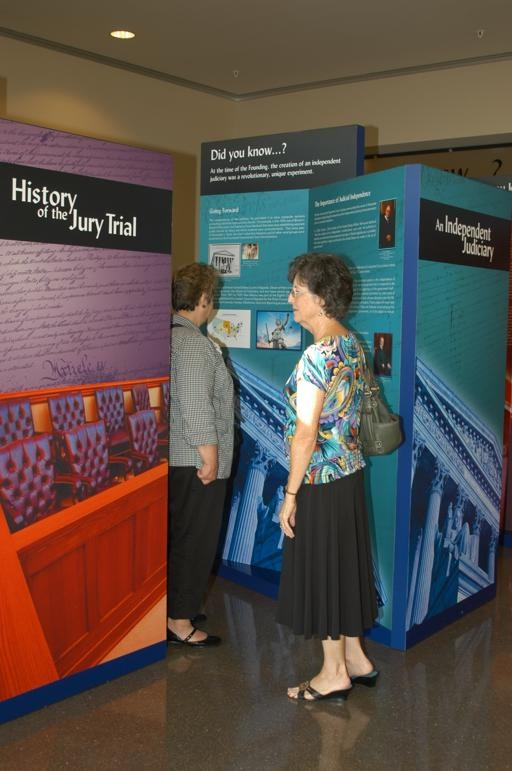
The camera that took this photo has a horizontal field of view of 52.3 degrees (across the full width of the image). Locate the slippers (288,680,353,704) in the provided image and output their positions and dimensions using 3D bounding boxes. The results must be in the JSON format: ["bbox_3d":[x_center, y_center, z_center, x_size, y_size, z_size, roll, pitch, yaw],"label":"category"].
[{"bbox_3d":[0.231,1.085,1.890,0.196,0.063,0.087,2,-6,8],"label":"slippers"}]

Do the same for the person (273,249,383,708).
[{"bbox_3d":[0.245,0.347,1.809,0.325,1.580,0.613,0,-6,14],"label":"person"}]

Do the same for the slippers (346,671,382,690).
[{"bbox_3d":[0.425,1.123,1.996,0.098,0.038,0.053,4,5,44],"label":"slippers"}]

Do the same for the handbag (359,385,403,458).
[{"bbox_3d":[0.467,0.129,1.969,0.132,0.259,0.198,-9,2,36],"label":"handbag"}]

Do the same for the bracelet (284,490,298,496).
[{"bbox_3d":[0.116,0.351,1.688,0.035,0.024,0.050,1,-6,3],"label":"bracelet"}]

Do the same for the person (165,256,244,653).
[{"bbox_3d":[-0.255,0.315,2.423,0.303,1.749,0.662,2,-6,-3],"label":"person"}]

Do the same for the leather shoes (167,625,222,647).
[{"bbox_3d":[-0.285,1.146,2.430,0.235,0.103,0.093,2,0,2],"label":"leather shoes"}]
